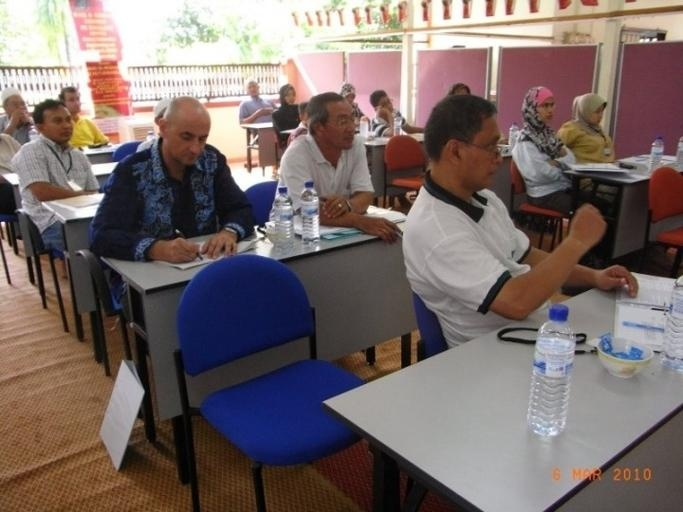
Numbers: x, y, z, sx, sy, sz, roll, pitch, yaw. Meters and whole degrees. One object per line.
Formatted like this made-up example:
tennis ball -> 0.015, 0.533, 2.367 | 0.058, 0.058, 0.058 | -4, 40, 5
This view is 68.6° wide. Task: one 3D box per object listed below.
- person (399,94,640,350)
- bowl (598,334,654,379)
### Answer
person -> 0.646, -0.127, 1.828 | 0.743, 0.897, 0.567 | -19, 25, -35
bowl -> 0.812, 0.286, 1.441 | 0.114, 0.064, 0.114 | 3, 16, -1
